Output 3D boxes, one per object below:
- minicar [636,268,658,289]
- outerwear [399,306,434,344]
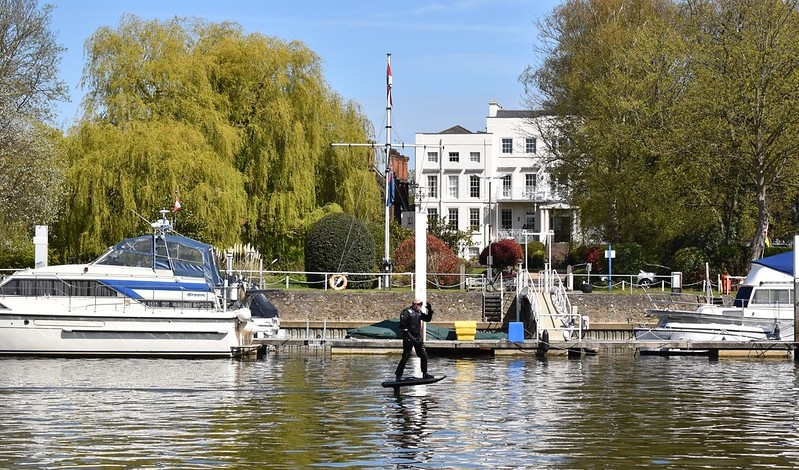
[{"bbox_3d":[13.729,2.416,77.436,1.158,0.832,0.866,-1,-3,1],"label":"minicar"},{"bbox_3d":[0.648,3.668,57.898,1.366,1.460,0.551,1,-4,-29],"label":"outerwear"}]
